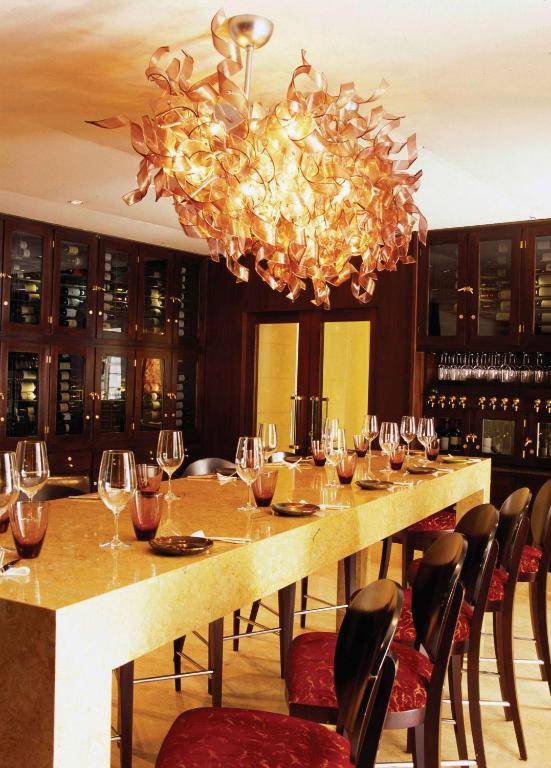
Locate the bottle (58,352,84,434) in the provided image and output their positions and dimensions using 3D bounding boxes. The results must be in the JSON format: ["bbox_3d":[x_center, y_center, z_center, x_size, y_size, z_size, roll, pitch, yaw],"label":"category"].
[{"bbox_3d":[-1.905,0.101,5.574,0.289,0.749,0.118,-1,3,-40],"label":"bottle"}]

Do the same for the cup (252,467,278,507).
[{"bbox_3d":[-0.033,0.294,1.740,0.101,0.131,0.105,1,-5,0],"label":"cup"}]

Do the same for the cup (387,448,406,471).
[{"bbox_3d":[0.560,0.337,2.702,0.091,0.115,0.097,0,-3,0],"label":"cup"}]

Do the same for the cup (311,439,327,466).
[{"bbox_3d":[0.198,0.330,2.807,0.094,0.167,0.100,0,-4,0],"label":"cup"}]

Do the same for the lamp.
[{"bbox_3d":[0.043,-0.830,2.147,0.926,0.996,1.077,2,3,15],"label":"lamp"}]

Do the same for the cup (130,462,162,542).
[{"bbox_3d":[-0.286,0.257,1.290,0.081,0.152,0.093,-3,-9,7],"label":"cup"}]

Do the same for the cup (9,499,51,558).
[{"bbox_3d":[-0.445,0.265,1.067,0.081,0.105,0.082,-3,-10,-1],"label":"cup"}]
